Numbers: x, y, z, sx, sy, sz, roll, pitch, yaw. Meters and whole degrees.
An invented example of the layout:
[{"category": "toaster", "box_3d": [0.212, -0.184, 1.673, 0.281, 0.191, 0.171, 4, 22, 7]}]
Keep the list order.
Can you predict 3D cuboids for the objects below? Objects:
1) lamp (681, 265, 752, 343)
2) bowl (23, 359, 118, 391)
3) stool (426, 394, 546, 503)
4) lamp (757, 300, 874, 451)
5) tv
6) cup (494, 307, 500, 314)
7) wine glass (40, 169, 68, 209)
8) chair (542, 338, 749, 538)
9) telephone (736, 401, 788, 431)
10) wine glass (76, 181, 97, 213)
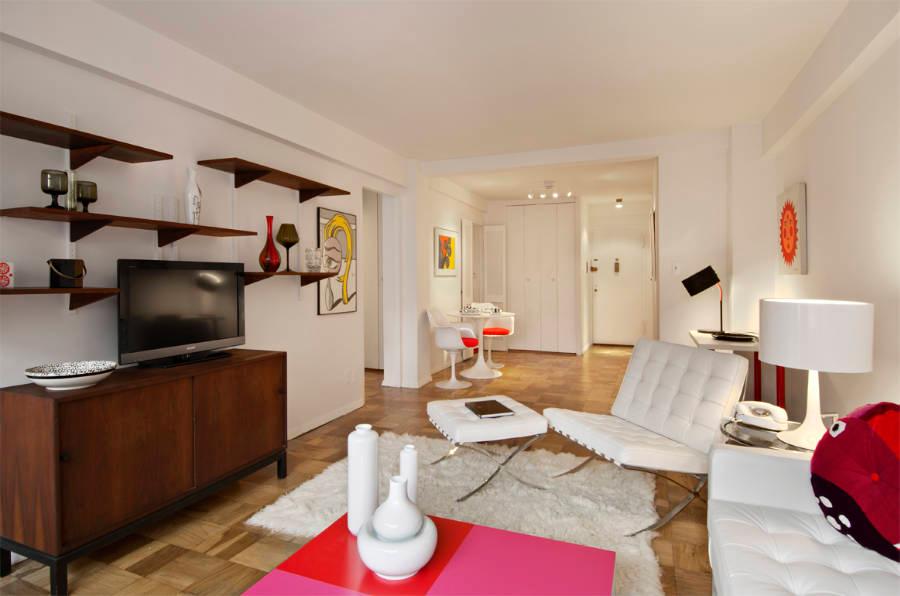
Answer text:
[{"category": "lamp", "box_3d": [2.747, 0.026, 6.041, 0.601, 0.713, 1.089, 1, 4, 17]}, {"category": "bowl", "box_3d": [-2.388, 0.493, 3.690, 0.427, 0.120, 0.391, 0, 3, 0]}, {"category": "stool", "box_3d": [0.272, 1.041, 4.547, 0.702, 0.483, 0.895, 0, 0, -17]}, {"category": "lamp", "box_3d": [2.406, 0.489, 3.871, 0.631, 0.933, 0.615, -3, 3, 5]}, {"category": "tv", "box_3d": [-1.980, 0.114, 4.214, 0.083, 0.581, 0.817, 2, 3, 31]}, {"category": "cup", "box_3d": [0.690, 0.188, 8.707, 0.085, 0.051, 0.084, -1, 5, 0]}, {"category": "wine glass", "box_3d": [-2.556, -0.693, 3.774, 0.149, 0.224, 0.145, -2, 2, -18]}, {"category": "chair", "box_3d": [1.405, 0.950, 4.436, 1.115, 1.013, 1.246, -6, 5, -14]}, {"category": "telephone", "box_3d": [2.075, 0.779, 3.919, 0.298, 0.138, 0.179, 0, -1, 41]}, {"category": "wine glass", "box_3d": [-2.451, -0.682, 3.937, 0.109, 0.196, 0.136, -2, 4, -23]}]
